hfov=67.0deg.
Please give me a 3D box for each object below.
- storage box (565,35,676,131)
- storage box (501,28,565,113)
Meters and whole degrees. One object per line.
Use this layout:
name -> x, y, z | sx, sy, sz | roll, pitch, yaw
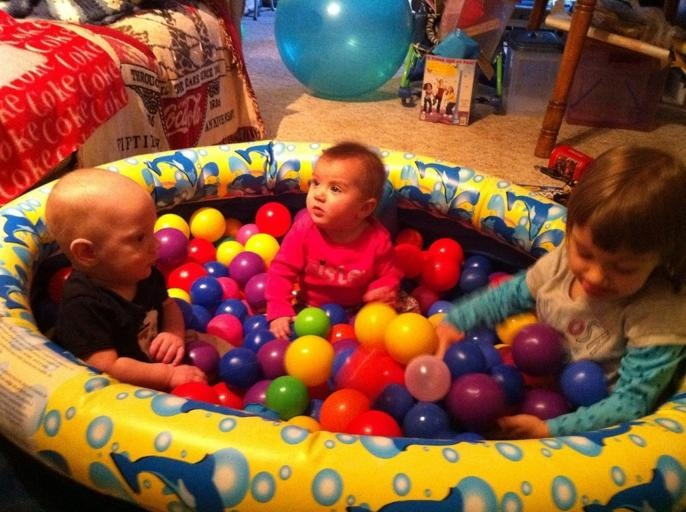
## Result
storage box -> 1.927, -1.292, 3.601 | 0.660, 0.578, 0.678 | 4, 41, 17
storage box -> 1.365, -1.331, 3.794 | 0.365, 0.519, 0.409 | 12, 41, 13
